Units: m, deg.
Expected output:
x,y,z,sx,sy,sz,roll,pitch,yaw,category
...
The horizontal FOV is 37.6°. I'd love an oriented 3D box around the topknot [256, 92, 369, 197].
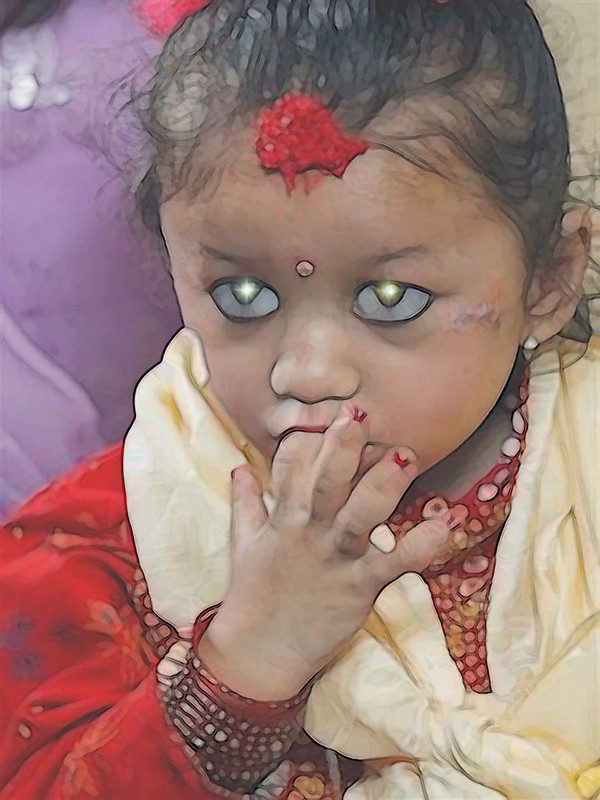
x,y,z,sx,sy,sz,roll,pitch,yaw,category
0.005,-0.315,1.089,0.110,0.099,0.086,29,58,28,topknot
